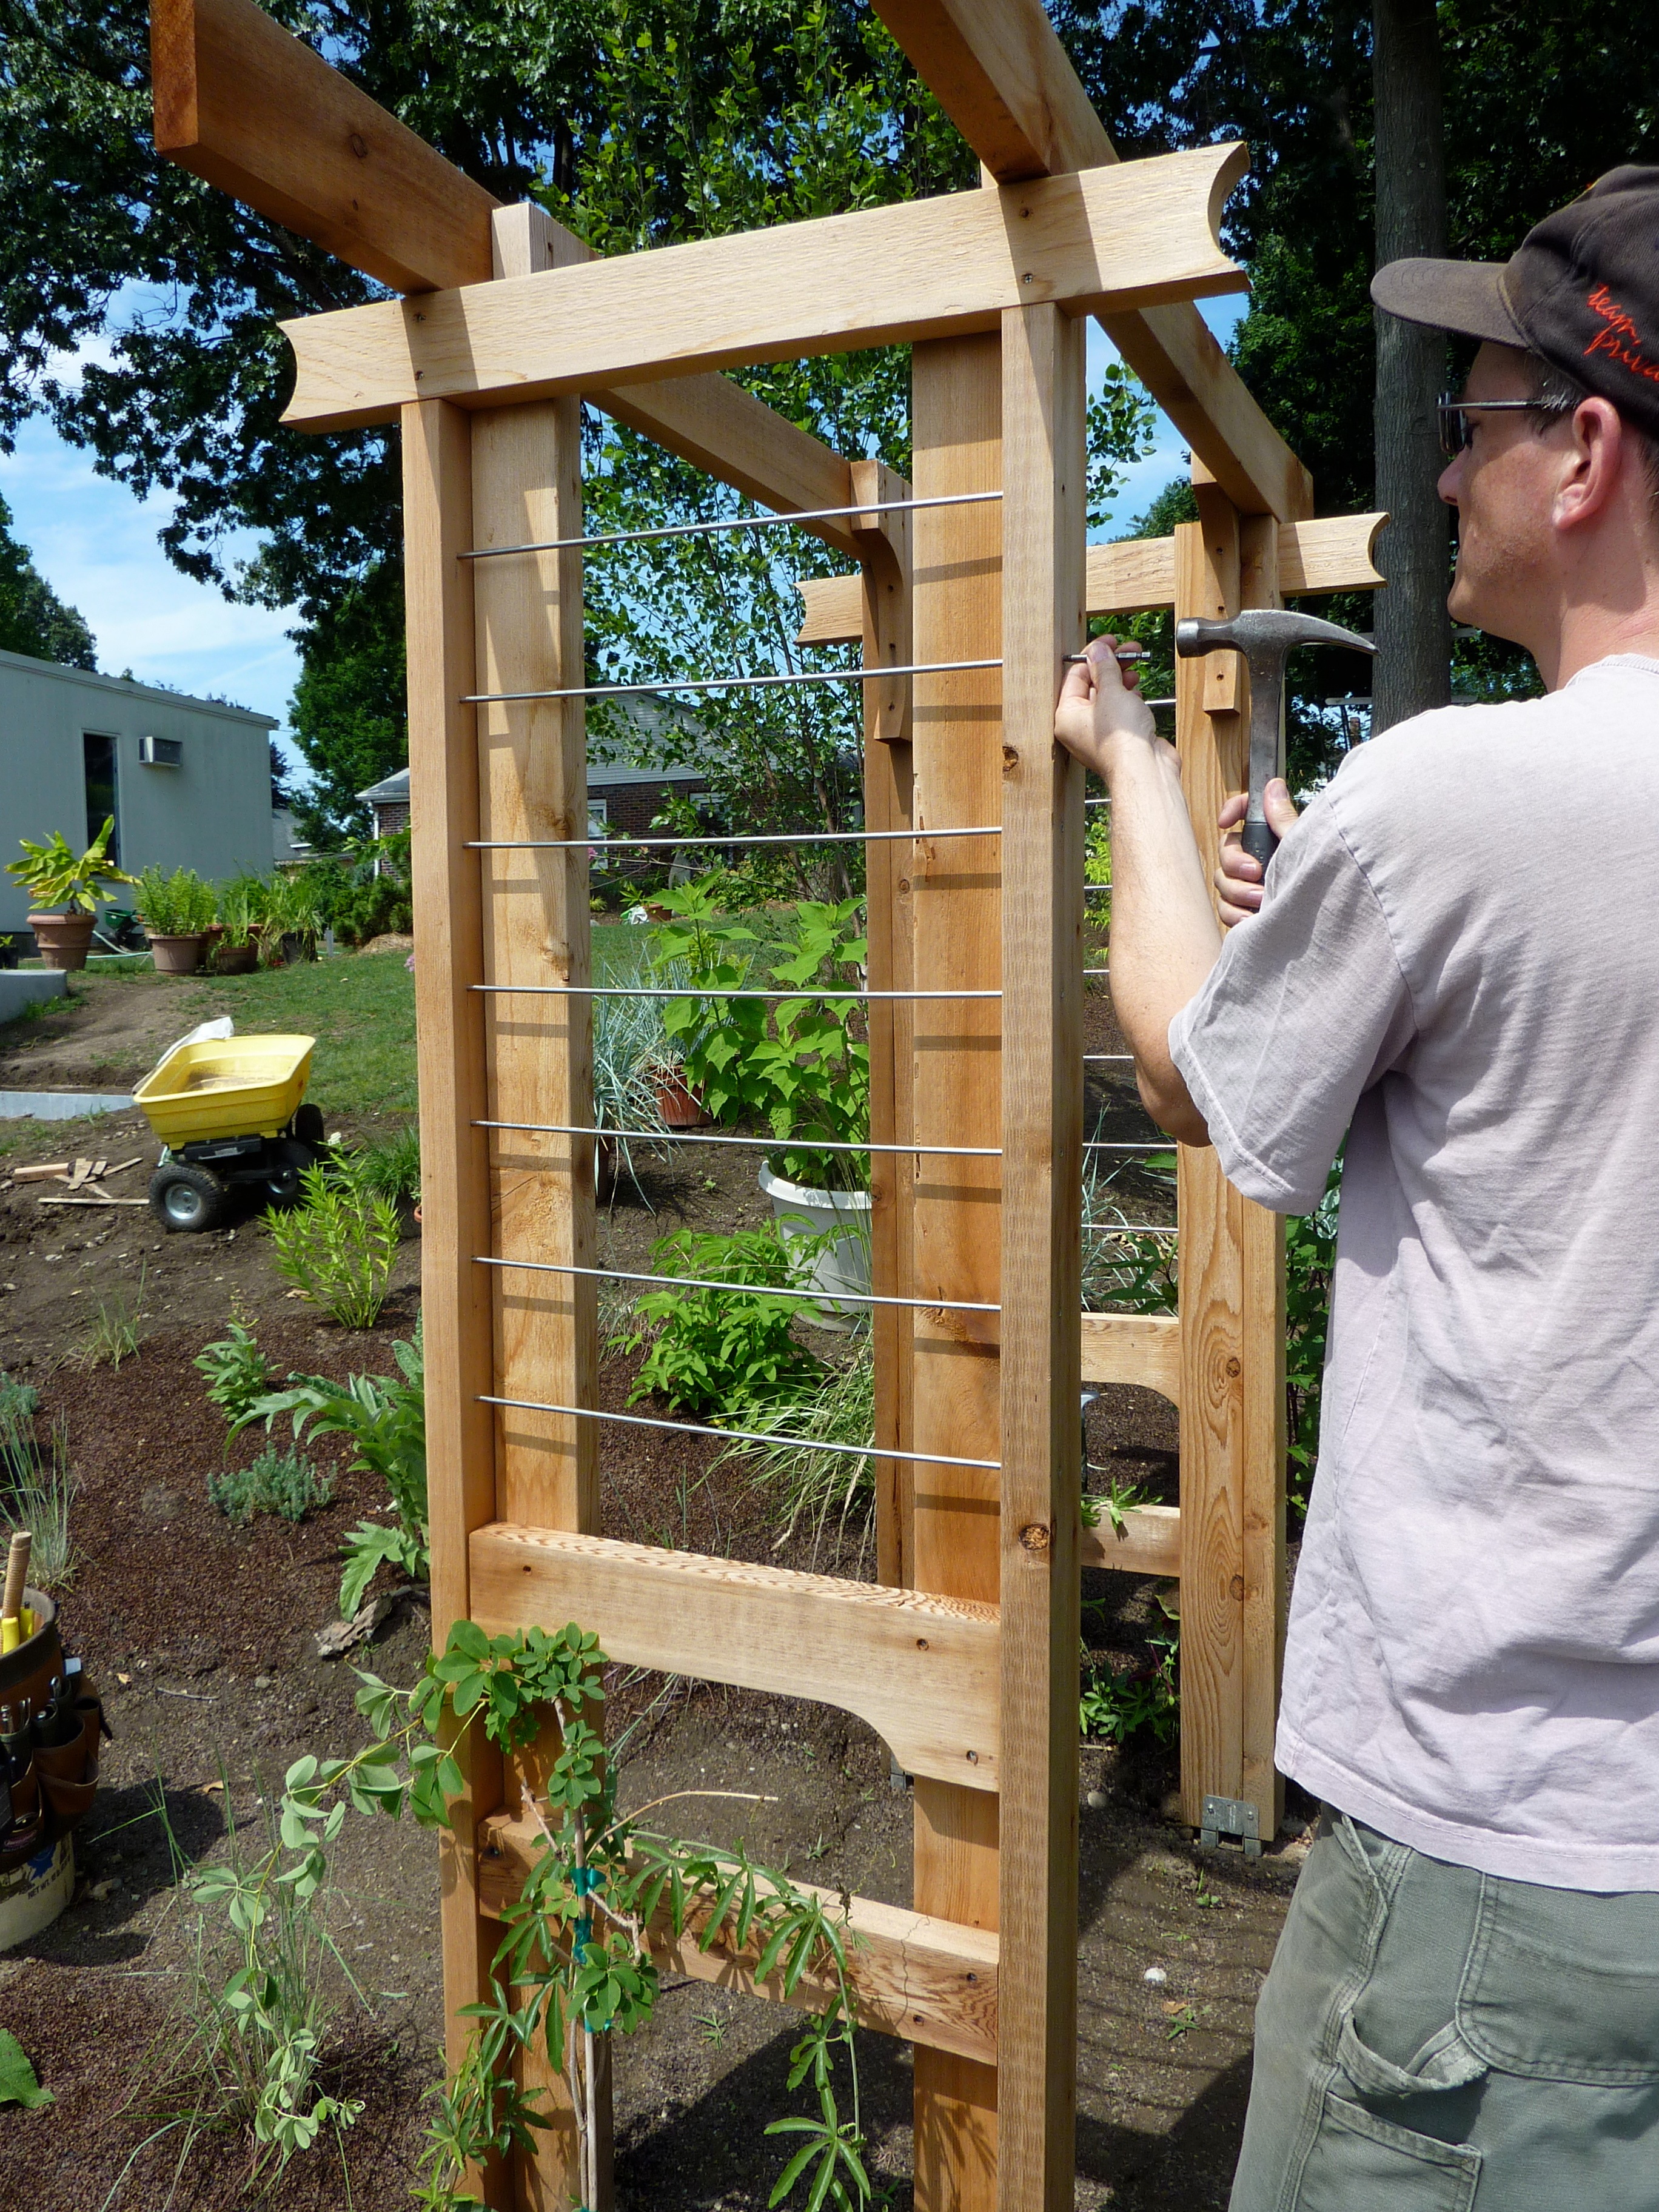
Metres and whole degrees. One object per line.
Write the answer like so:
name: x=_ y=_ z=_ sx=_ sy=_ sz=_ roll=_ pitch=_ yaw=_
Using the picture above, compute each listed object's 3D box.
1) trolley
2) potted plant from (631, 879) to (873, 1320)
trolley: x=-2.043 y=0.077 z=6.603 sx=0.516 sy=0.673 sz=0.546 roll=-3 pitch=12 yaw=-7
potted plant: x=-0.118 y=-0.144 z=5.240 sx=0.723 sy=1.375 sz=0.615 roll=4 pitch=6 yaw=32
